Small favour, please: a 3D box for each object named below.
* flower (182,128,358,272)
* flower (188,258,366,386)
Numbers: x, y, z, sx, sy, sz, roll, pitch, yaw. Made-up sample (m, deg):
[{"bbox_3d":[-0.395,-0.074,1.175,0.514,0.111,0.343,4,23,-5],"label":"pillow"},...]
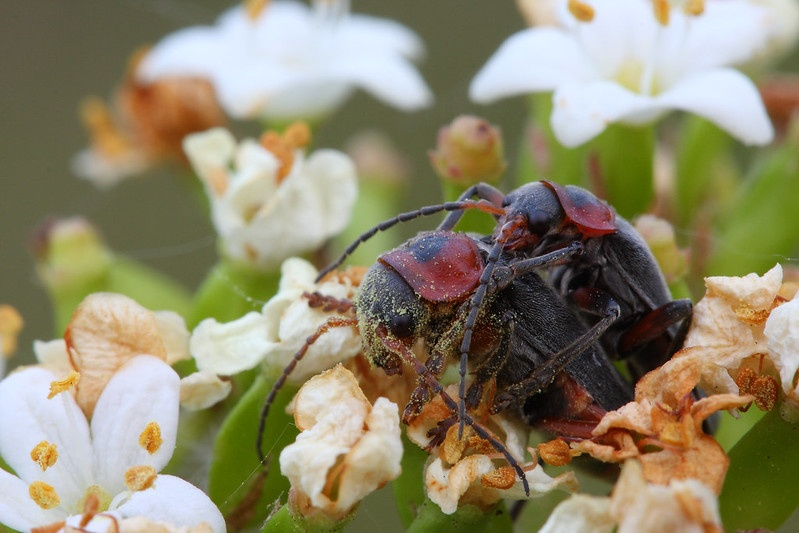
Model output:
[{"bbox_3d":[-0.249,-0.176,1.933,0.282,0.289,0.176,-59,-3,30],"label":"flower"},{"bbox_3d":[-0.224,0.124,1.649,0.208,0.214,0.066,-37,-35,4],"label":"flower"}]
